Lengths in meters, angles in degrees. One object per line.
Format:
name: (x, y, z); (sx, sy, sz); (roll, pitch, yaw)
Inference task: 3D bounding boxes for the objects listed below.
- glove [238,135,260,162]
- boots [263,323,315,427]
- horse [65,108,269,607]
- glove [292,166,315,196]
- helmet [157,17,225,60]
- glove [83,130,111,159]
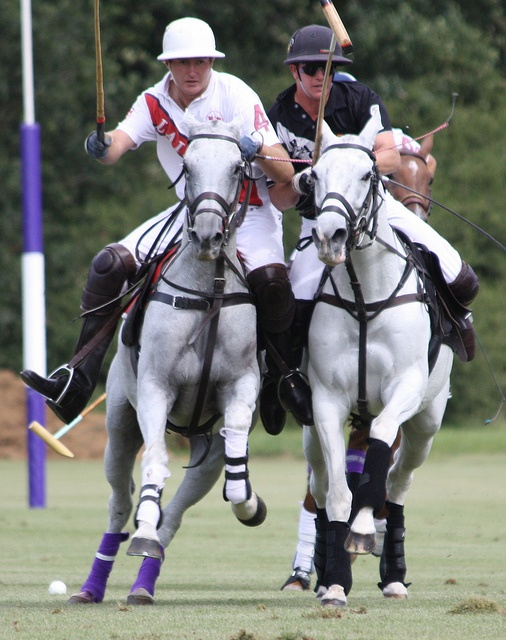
glove: (-0.016, -1.006, 8.110); (0.120, 0.125, 0.148); (3, -20, 2)
boots: (0.244, 0.348, 8.741); (0.240, 0.674, 0.318); (-14, 2, 31)
horse: (-0.390, 0.506, 8.877); (1.089, 2.348, 3.722); (5, -21, -10)
glove: (0.305, -0.814, 8.147); (0.110, 0.159, 0.380); (5, 3, -4)
helmet: (-0.402, -1.762, 8.718); (0.490, 0.250, 0.528); (2, 13, 17)
glove: (-0.929, -1.086, 8.526); (0.145, 0.173, 0.085); (-34, -21, 31)
